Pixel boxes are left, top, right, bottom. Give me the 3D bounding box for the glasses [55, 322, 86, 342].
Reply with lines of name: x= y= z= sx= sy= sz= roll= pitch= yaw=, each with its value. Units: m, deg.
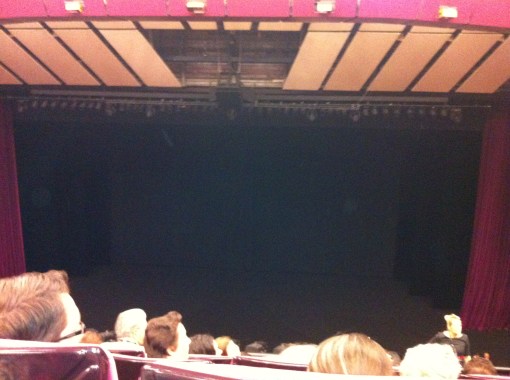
glasses: x=-1.730 y=1.350 z=4.943 sx=0.203 sy=0.191 sz=0.051 roll=-11 pitch=-88 yaw=-14
